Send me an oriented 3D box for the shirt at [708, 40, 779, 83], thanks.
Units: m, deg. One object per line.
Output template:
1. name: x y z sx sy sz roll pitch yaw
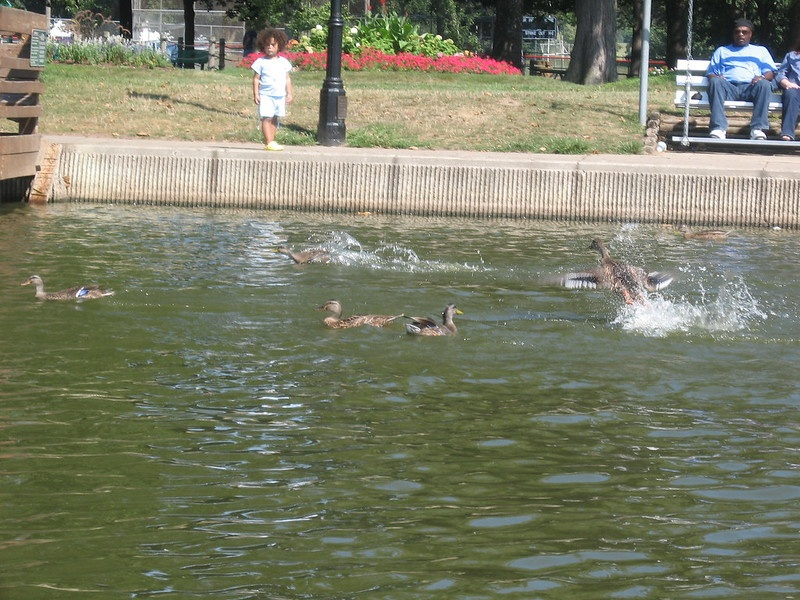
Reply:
1. shirt: 5.795 -4.058 30.356 1.421 0.645 0.713 3 -1 16

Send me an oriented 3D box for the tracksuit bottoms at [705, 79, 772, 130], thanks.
1. tracksuit bottoms: 5.731 -3.339 30.216 1.058 0.696 1.007 1 2 9

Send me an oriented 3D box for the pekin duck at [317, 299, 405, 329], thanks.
1. pekin duck: -0.403 0.223 21.708 1.400 0.419 0.336 4 -5 1

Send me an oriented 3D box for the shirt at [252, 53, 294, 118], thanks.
1. shirt: -2.078 -3.482 29.077 0.580 1.023 0.488 3 9 -4

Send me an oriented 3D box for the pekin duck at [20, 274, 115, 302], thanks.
1. pekin duck: -4.193 -0.111 22.191 1.336 0.360 0.347 1 0 -4

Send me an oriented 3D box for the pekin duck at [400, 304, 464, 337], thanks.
1. pekin duck: 0.406 0.270 21.549 0.651 0.376 0.344 1 8 -10

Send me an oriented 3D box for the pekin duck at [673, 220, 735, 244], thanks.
1. pekin duck: 4.544 -1.003 26.525 0.821 0.266 0.459 6 -10 -16
